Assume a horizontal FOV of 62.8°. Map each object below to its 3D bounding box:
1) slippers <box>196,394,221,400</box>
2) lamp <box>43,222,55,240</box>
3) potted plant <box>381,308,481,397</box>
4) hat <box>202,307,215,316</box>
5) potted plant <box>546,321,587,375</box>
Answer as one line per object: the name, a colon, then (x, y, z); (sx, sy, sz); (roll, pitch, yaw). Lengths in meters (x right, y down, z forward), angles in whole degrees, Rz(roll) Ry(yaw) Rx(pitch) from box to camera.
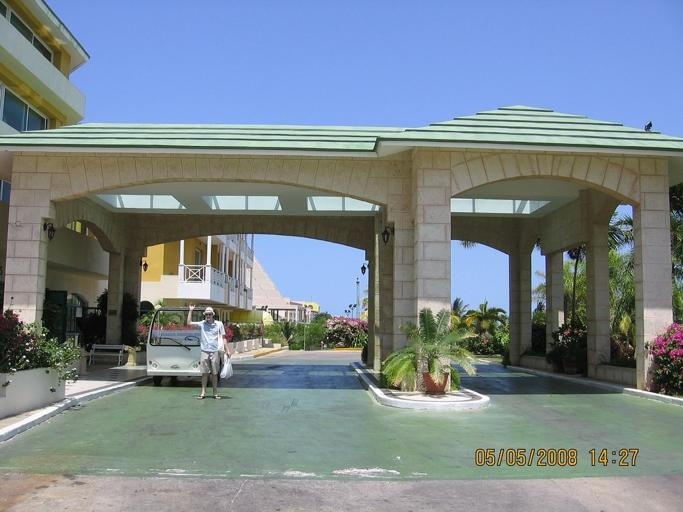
slippers: (-3.401, 3.598, 14.216); (0.559, 0.136, 0.218); (4, -10, -7)
lamp: (-8.448, -0.720, 16.007); (0.210, 0.440, 0.542); (5, -9, -14)
potted plant: (2.112, 2.583, 14.332); (2.103, 1.899, 2.217); (2, -8, -14)
hat: (-3.362, 1.380, 13.959); (0.344, 0.215, 0.456); (1, -8, -5)
potted plant: (8.679, 3.463, 20.977); (0.831, 1.885, 1.625); (6, -9, -24)
